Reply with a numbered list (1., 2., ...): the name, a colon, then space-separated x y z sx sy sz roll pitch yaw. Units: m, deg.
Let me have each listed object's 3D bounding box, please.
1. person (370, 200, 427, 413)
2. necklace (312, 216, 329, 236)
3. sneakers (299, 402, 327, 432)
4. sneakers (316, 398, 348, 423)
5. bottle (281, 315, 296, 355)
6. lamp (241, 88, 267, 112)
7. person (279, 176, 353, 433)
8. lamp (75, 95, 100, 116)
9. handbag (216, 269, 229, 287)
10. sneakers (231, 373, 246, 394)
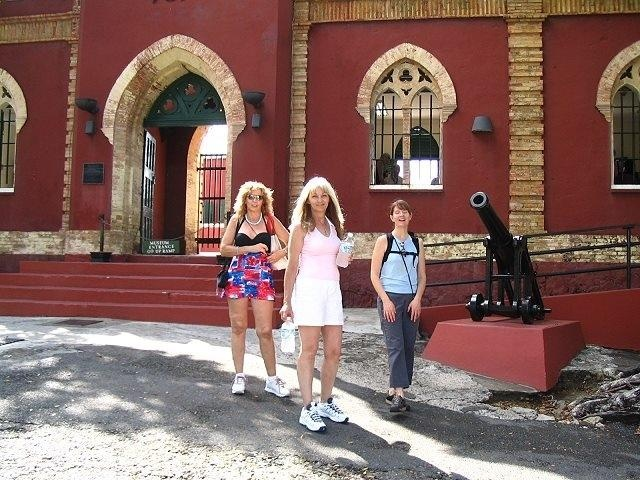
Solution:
1. person: 0.884 0.781 6.688 0.606 2.417 0.856 5 11 20
2. necklace: 0.033 -0.155 6.358 0.172 0.186 0.043 17 -28 -31
3. sneakers: -0.081 1.861 6.001 0.150 0.258 0.337 -8 15 -43
4. sneakers: 0.116 1.876 6.241 0.408 0.228 0.170 5 3 32
5. bottle: -0.348 1.082 6.276 0.160 0.448 0.358 0 11 -7
6. lamp: -1.477 -3.147 12.766 0.405 0.338 0.440 1 -9 -3
7. person: -0.055 0.664 6.174 0.715 2.581 0.999 1 10 -5
8. lamp: -5.507 -3.164 13.370 0.512 0.388 0.358 1 11 -2
9. handbag: -1.184 0.485 6.884 0.121 0.257 0.186 -1 11 -11
10. sneakers: -0.987 1.731 6.852 0.175 0.212 0.248 0 11 -8
